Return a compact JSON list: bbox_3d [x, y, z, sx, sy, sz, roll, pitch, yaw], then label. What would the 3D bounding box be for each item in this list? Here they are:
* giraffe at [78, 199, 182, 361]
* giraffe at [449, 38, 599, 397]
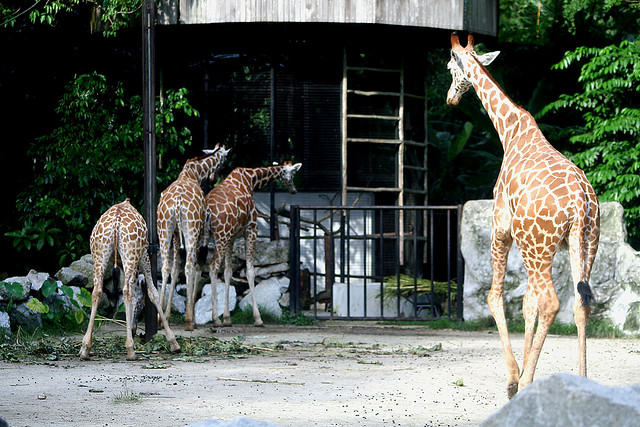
[{"bbox_3d":[-3.120,1.012,19.178,1.052,3.001,3.540,-2,-5,4],"label":"giraffe"},{"bbox_3d":[2.956,0.027,16.198,1.976,5.148,0.803,-3,-3,43],"label":"giraffe"}]
